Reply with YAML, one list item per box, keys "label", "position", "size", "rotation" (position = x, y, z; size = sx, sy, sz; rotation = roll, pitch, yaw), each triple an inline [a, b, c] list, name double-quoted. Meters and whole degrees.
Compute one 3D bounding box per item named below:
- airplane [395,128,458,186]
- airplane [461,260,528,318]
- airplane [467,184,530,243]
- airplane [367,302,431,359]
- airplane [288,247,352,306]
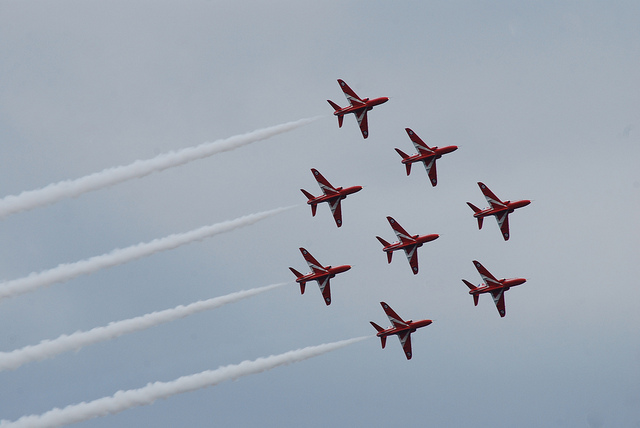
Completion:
- label: "airplane"
  position: [8.889, -4.866, 104.227]
  size: [5.113, 2.088, 5.678]
  rotation: [-18, -58, 24]
- label: "airplane"
  position: [13.535, 6.485, 102.898]
  size: [4.183, 4.137, 2.551]
  rotation: [23, -49, -25]
- label: "airplane"
  position: [14.468, -0.556, 103.831]
  size: [5.194, 6.278, 2.162]
  rotation: [-14, -40, -5]
- label: "airplane"
  position: [6.371, 9.586, 101.611]
  size: [3.710, 3.511, 2.435]
  rotation: [30, -52, -30]
- label: "airplane"
  position: [0.202, 4.620, 102.179]
  size: [5.076, 5.894, 2.103]
  rotation: [-15, -41, -15]
